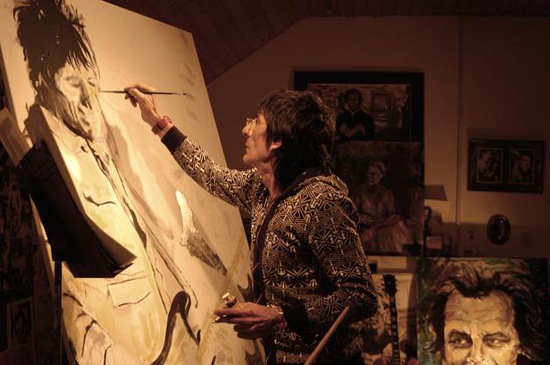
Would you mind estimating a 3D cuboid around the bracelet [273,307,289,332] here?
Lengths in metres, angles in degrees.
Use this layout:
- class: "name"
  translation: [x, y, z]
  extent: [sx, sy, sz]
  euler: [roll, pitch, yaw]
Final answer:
- class: "bracelet"
  translation: [0.025, 0.578, 2.024]
  extent: [0.030, 0.088, 0.065]
  euler: [-17, 2, -6]

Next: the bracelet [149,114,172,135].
- class: "bracelet"
  translation: [-0.562, -0.299, 2.459]
  extent: [0.104, 0.066, 0.102]
  euler: [-44, -10, 31]
